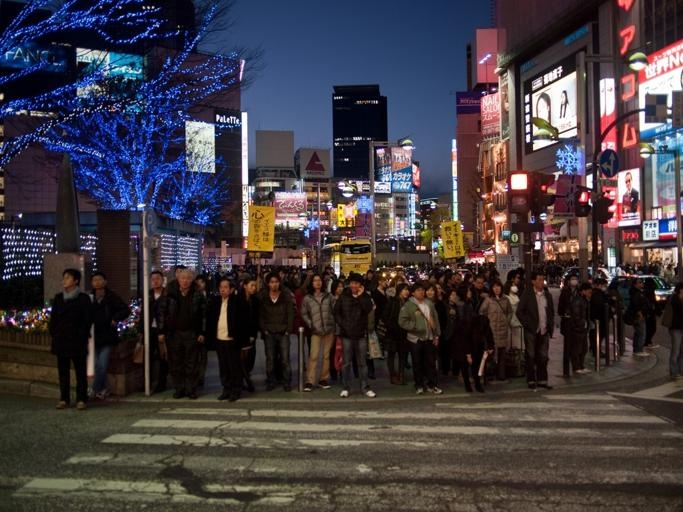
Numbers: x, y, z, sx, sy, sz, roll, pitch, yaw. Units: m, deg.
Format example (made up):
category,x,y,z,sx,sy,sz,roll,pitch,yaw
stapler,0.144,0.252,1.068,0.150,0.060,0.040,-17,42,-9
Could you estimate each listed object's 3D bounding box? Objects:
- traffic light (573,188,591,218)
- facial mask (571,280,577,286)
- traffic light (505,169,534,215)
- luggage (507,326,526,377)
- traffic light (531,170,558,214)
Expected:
category,x,y,z,sx,sy,sz,roll,pitch,yaw
traffic light,6.773,-1.501,21.295,0.437,0.818,0.899,3,7,19
facial mask,5.810,0.667,19.017,0.113,0.096,0.162,-1,-6,1
traffic light,4.342,-1.526,18.482,0.579,1.062,0.417,2,6,12
luggage,4.254,2.252,18.292,0.576,1.152,0.547,-8,2,16
traffic light,5.061,-1.575,19.164,0.569,1.076,2.458,2,7,15
